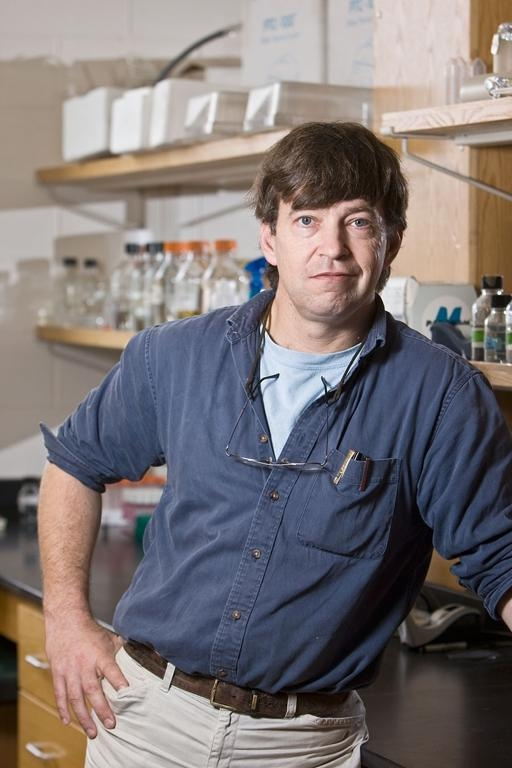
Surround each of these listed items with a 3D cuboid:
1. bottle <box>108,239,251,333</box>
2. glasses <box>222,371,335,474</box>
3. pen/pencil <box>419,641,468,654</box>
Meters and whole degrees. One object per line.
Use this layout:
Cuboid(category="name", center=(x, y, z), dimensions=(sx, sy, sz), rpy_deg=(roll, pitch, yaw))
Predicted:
Cuboid(category="bottle", center=(-0.210, -0.266, 2.023), dimensions=(0.420, 0.245, 0.136), rpy_deg=(-1, -4, 16))
Cuboid(category="glasses", center=(0.032, 0.044, 0.903), dimensions=(0.117, 0.112, 0.032), rpy_deg=(5, 0, 15))
Cuboid(category="pen/pencil", center=(0.332, 0.461, 1.334), dimensions=(0.076, 0.016, 0.014), rpy_deg=(0, 4, -19))
